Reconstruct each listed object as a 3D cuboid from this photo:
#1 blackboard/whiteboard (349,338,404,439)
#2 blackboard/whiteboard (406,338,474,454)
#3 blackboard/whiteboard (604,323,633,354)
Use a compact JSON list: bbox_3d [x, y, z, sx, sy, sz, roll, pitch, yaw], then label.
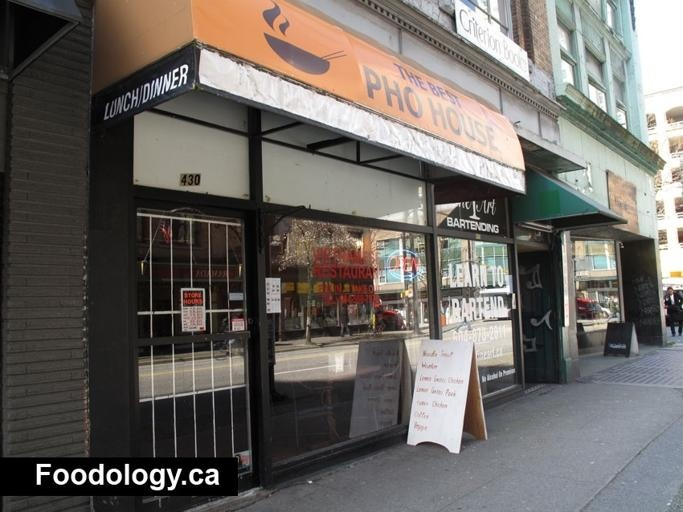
[{"bbox_3d":[0.433,1.834,7.466,0.066,1.674,1.080,-6,-11,38],"label":"blackboard/whiteboard"},{"bbox_3d":[1.296,1.829,7.260,0.911,1.393,0.529,-9,-7,41],"label":"blackboard/whiteboard"},{"bbox_3d":[7.740,2.287,15.214,0.552,1.135,0.708,5,-3,-41],"label":"blackboard/whiteboard"}]
